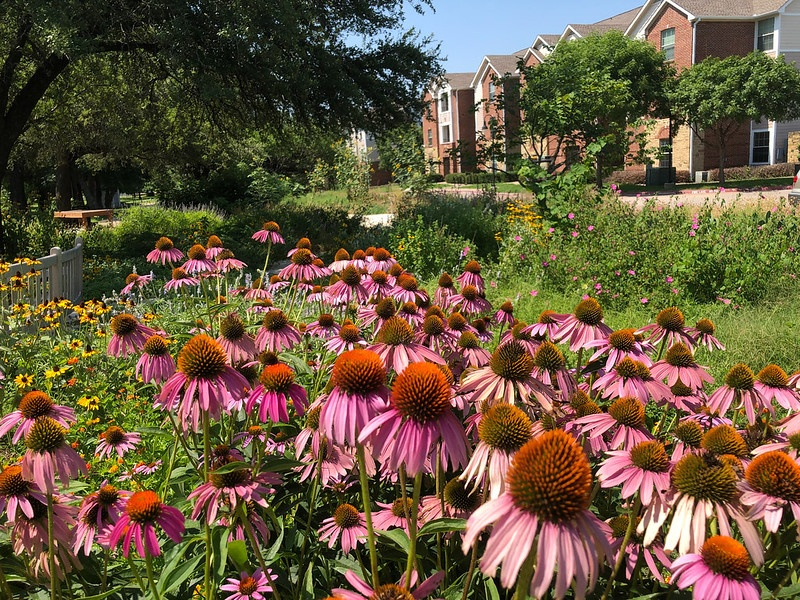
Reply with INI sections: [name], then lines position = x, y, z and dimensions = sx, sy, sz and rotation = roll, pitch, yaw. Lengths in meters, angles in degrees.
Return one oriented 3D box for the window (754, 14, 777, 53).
[window]
position = 17.221, -12.401, 35.595
dimensions = 0.395, 1.546, 0.901
rotation = -7, 9, -37
